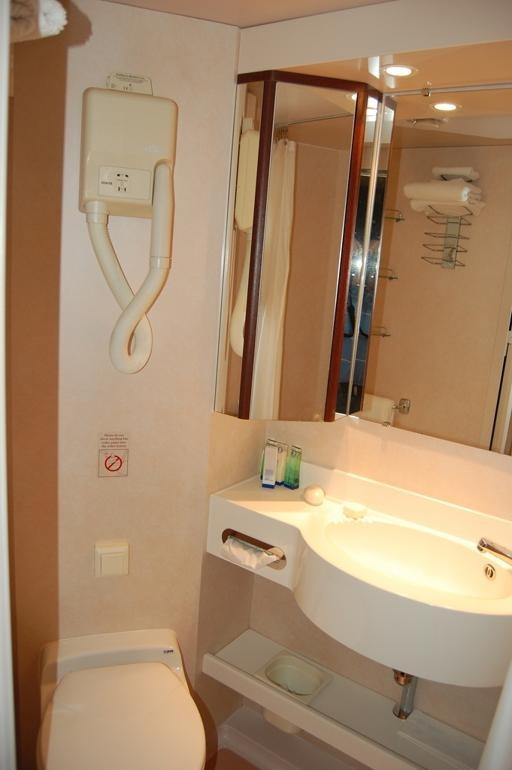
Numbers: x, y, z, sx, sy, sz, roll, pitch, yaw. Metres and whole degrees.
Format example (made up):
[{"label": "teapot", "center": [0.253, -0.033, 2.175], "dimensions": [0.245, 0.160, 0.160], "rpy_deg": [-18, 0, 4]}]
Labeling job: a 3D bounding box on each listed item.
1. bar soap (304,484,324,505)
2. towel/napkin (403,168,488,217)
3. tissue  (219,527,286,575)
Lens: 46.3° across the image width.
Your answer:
[{"label": "bar soap", "center": [0.167, 0.313, 1.718], "dimensions": [0.047, 0.050, 0.050], "rpy_deg": [2, 4, 18]}, {"label": "towel/napkin", "center": [0.465, -0.472, 1.478], "dimensions": [0.119, 0.055, 0.129], "rpy_deg": [10, -5, 30]}, {"label": "tissue ", "center": [-0.012, 0.447, 1.670], "dimensions": [0.105, 0.043, 0.136], "rpy_deg": [12, 5, -41]}]
